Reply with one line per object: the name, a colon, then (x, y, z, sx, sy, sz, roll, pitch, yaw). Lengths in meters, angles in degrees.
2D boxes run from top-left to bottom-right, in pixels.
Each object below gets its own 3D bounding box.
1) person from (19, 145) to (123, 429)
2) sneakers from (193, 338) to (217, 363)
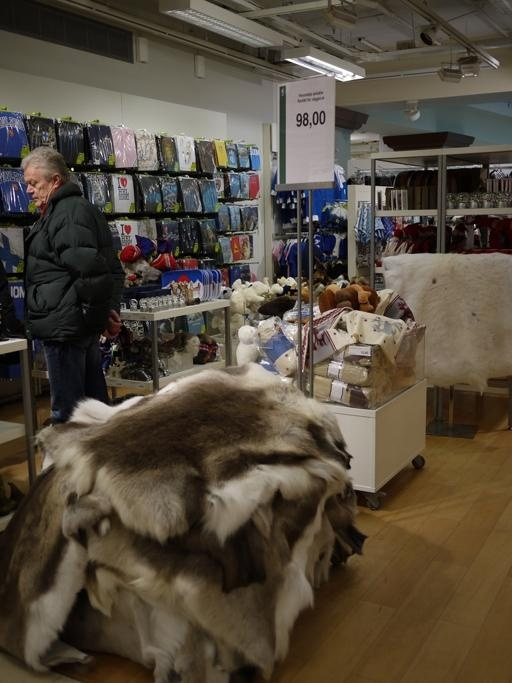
person: (-1.029, -0.297, 2.879, 0.512, 1.519, 0.555, 0, 1, -19)
sneakers: (-0.429, 0.080, 4.192, 0.197, 0.192, 0.089, 8, 3, -44)
